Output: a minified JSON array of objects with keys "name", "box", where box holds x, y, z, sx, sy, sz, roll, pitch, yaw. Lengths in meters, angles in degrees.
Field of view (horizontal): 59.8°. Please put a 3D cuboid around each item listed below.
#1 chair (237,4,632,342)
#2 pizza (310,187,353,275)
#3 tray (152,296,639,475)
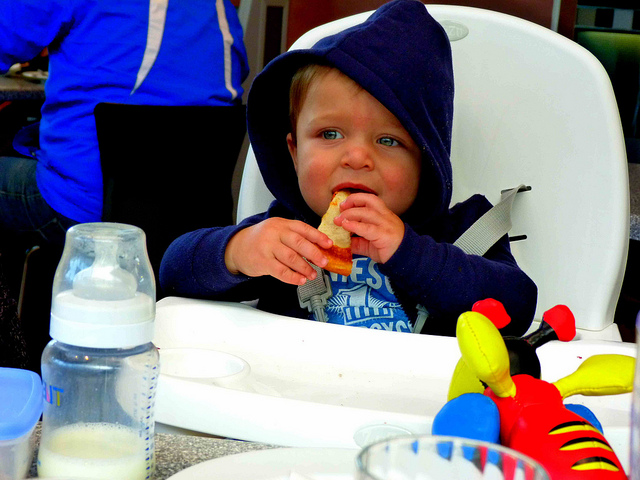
[{"name":"chair","box":[0.385,-0.201,1.653,0.909,0.880,0.784,5,4,22]},{"name":"pizza","box":[0.037,-0.014,1.149,0.038,0.162,0.084,7,5,-45]},{"name":"tray","box":[-0.002,0.193,0.823,0.512,0.095,0.319,4,5,20]}]
